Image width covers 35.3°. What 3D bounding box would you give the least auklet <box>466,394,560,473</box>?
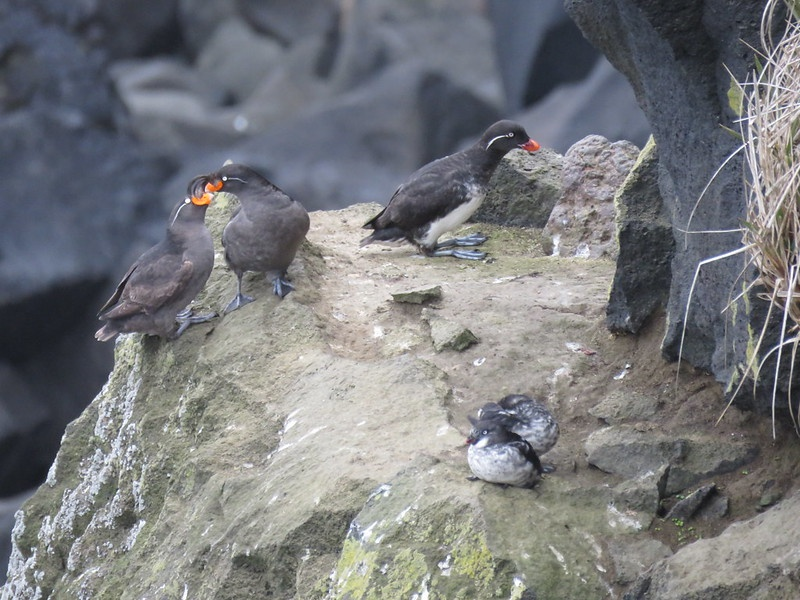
[{"bbox_3d":[0.700,0.719,7.567,0.555,0.356,0.366,-27,35,-26],"label":"least auklet"}]

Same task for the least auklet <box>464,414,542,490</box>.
[{"bbox_3d":[0.605,0.940,7.359,0.388,0.394,0.322,11,48,31],"label":"least auklet"}]

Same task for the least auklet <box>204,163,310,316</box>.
[{"bbox_3d":[-1.008,-0.466,9.111,0.732,0.922,0.629,-3,42,18],"label":"least auklet"}]
